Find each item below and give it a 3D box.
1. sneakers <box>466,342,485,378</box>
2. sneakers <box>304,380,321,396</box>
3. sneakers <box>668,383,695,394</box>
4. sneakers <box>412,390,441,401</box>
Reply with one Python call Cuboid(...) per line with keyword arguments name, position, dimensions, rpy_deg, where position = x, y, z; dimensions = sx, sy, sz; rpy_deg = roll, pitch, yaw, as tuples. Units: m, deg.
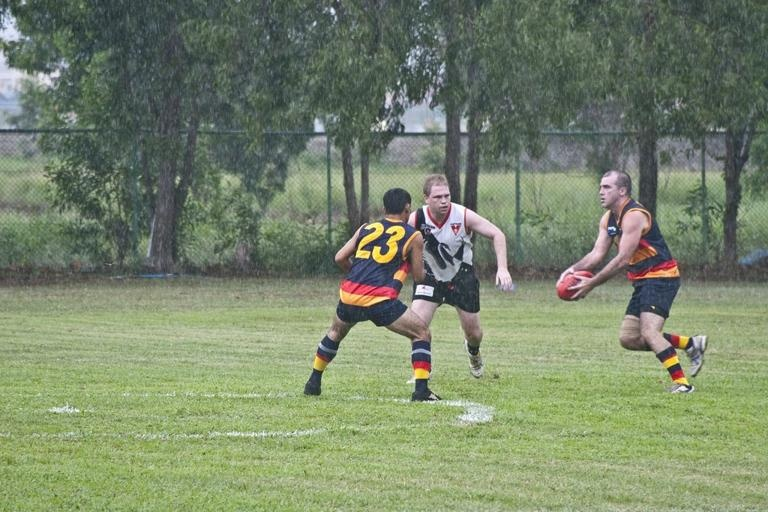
Cuboid(name="sneakers", position=(1.554, 1.757, 25.701), dimensions=(0.221, 0.695, 0.276), rpy_deg=(-12, 18, -2))
Cuboid(name="sneakers", position=(-1.194, 2.157, 24.829), dimensions=(0.211, 0.252, 0.224), rpy_deg=(0, -7, 7))
Cuboid(name="sneakers", position=(4.980, 2.169, 24.988), dimensions=(0.361, 0.181, 0.146), rpy_deg=(2, 6, -3))
Cuboid(name="sneakers", position=(0.688, 2.250, 24.586), dimensions=(0.479, 0.221, 0.185), rpy_deg=(-1, 6, -7))
